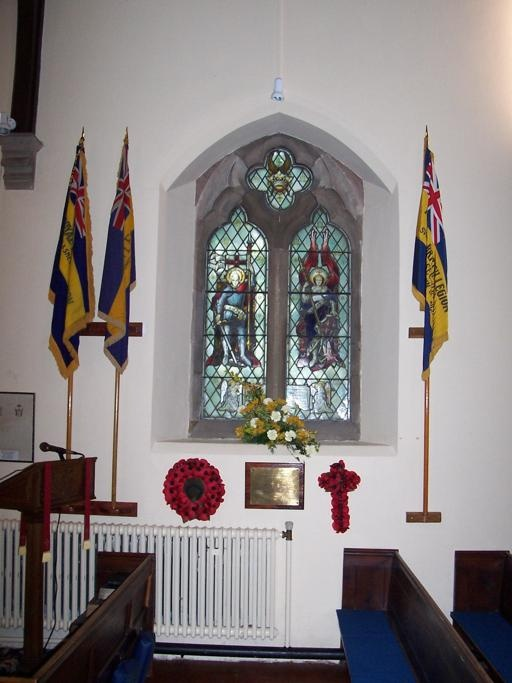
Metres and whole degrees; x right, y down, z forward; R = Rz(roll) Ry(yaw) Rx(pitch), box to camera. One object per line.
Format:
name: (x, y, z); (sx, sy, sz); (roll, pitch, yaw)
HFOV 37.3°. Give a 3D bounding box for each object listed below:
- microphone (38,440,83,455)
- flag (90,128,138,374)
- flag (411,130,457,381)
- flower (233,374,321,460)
microphone: (-1.224, 0.691, 4.831); (0.243, 0.108, 0.664); (1, -6, -13)
flag: (-0.880, -0.585, 4.905); (0.157, 1.550, 0.333); (-3, -5, 28)
flag: (1.108, -0.544, 4.843); (0.217, 1.562, 0.176); (-1, -4, 15)
flower: (0.047, 0.534, 5.232); (0.485, 0.532, 0.816); (2, -6, -30)
